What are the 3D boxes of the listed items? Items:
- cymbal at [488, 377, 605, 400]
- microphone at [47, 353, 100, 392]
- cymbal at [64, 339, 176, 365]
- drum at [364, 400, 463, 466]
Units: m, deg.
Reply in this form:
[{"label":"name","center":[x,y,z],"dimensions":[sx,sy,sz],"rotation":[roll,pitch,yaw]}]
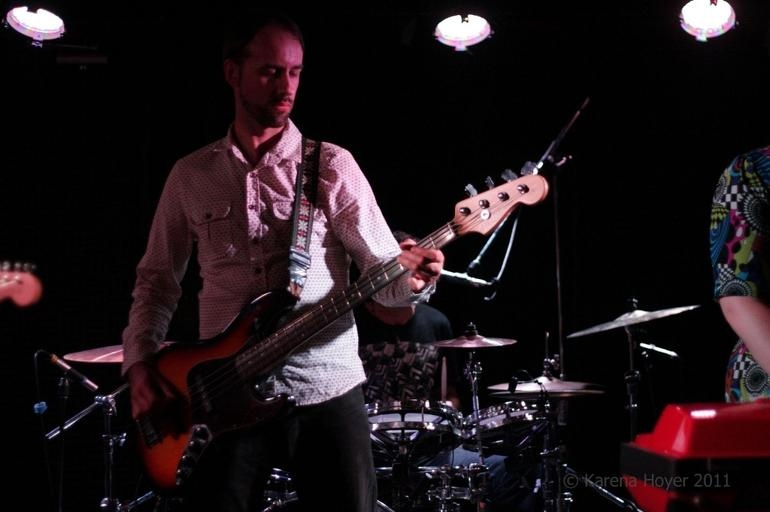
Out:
[{"label":"cymbal","center":[1.395,1.120,5.838],"dimensions":[0.456,0.099,0.437],"rotation":[-1,-1,-24]},{"label":"microphone","center":[-2.759,1.028,6.088],"dimensions":[0.114,0.596,0.097],"rotation":[-48,6,15]},{"label":"cymbal","center":[-1.900,0.679,4.876],"dimensions":[0.607,0.059,0.551],"rotation":[-3,9,22]},{"label":"drum","center":[0.219,1.397,5.512],"dimensions":[0.762,0.255,0.721],"rotation":[-2,-40,-1]}]
